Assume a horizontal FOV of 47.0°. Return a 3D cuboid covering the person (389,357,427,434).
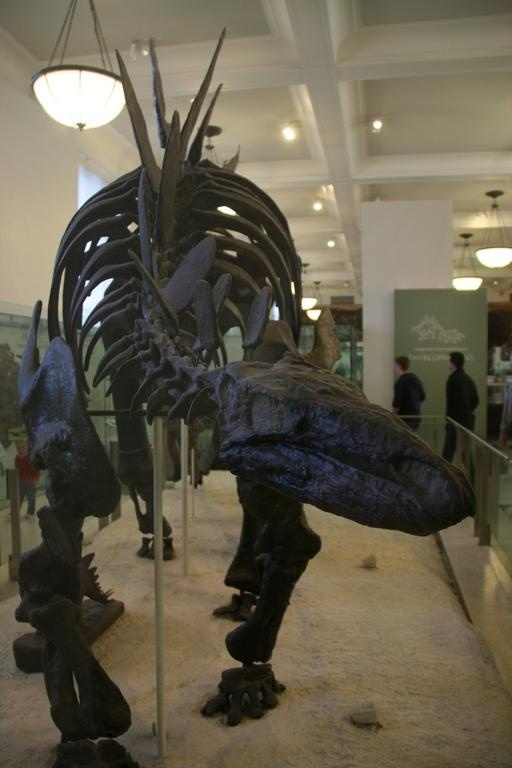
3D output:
[{"bbox_3d":[1.529,0.226,5.897,0.343,1.001,0.310,-5,21,4],"label":"person"}]
